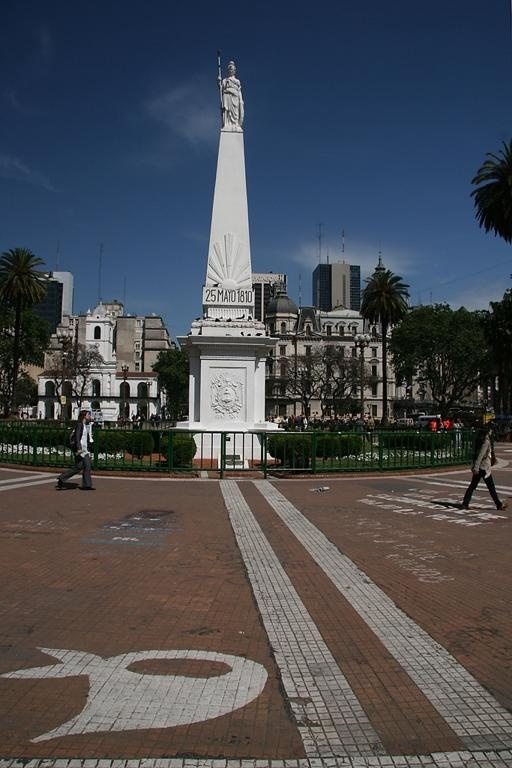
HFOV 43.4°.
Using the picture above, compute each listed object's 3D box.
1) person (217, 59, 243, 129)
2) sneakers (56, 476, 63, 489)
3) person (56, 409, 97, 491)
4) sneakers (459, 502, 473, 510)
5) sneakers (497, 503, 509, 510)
[{"bbox_3d":[-0.977,-11.107,24.867,0.816,3.327,1.441,1,-3,-6],"label":"person"},{"bbox_3d":[-3.951,1.931,12.886,0.147,0.264,0.534,1,-4,-18],"label":"sneakers"},{"bbox_3d":[-3.864,1.334,13.854,0.677,1.597,2.556,1,-4,-15],"label":"person"},{"bbox_3d":[3.610,2.051,11.011,0.147,0.169,0.114,-1,-2,7],"label":"sneakers"},{"bbox_3d":[4.289,2.070,11.112,0.125,0.104,0.446,-2,-4,28],"label":"sneakers"}]
